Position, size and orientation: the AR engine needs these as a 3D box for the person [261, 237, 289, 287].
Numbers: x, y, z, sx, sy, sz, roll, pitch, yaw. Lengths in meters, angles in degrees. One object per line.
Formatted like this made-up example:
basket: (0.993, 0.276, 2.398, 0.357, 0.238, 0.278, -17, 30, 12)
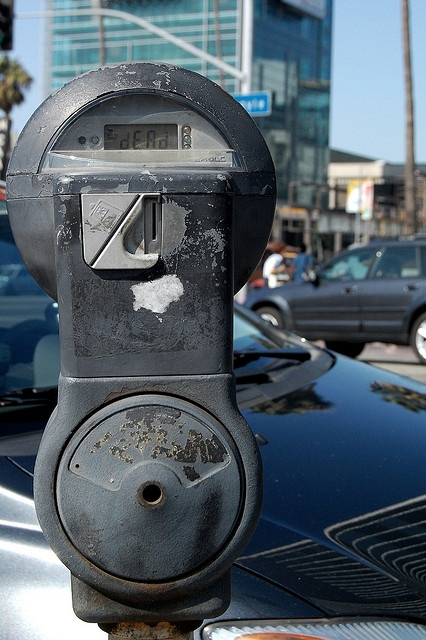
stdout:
person: (1.135, -0.921, 12.144, 0.362, 1.113, 0.289, -4, 40, 7)
